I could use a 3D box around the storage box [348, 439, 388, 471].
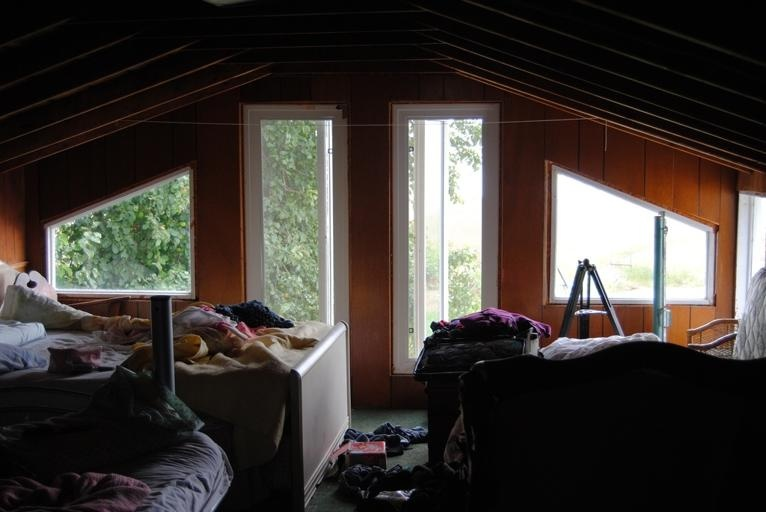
[{"bbox_3d":[-0.100,1.298,4.481,0.181,0.108,0.176,0,-1,4],"label":"storage box"}]

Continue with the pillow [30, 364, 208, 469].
[{"bbox_3d":[-1.295,0.748,3.193,0.583,0.237,0.448,-8,2,-29],"label":"pillow"}]
